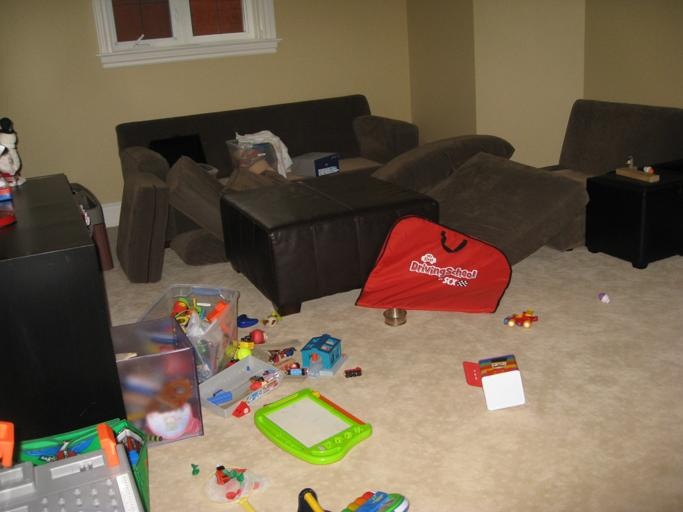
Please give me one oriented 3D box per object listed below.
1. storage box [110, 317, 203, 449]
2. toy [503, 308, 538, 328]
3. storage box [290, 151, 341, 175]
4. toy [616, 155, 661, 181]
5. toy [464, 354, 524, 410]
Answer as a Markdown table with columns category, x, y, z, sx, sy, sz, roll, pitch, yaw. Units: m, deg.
| category | x | y | z | sx | sy | sz | roll | pitch | yaw |
| --- | --- | --- | --- | --- | --- | --- | --- | --- | --- |
| storage box | -0.691 | 0.496 | 2.292 | 0.398 | 0.512 | 0.520 | -7 | 23 | -18 |
| toy | 0.889 | 0.294 | 2.694 | 0.216 | 0.055 | 0.128 | -12 | 15 | -32 |
| storage box | -0.202 | -0.710 | 4.317 | 0.372 | 0.165 | 0.291 | -2 | 13 | 6 |
| toy | 1.687 | -0.488 | 3.144 | 0.123 | 0.113 | 0.229 | -16 | 25 | -25 |
| toy | 0.592 | 0.474 | 2.194 | 0.196 | 0.186 | 0.194 | -6 | -1 | 2 |
